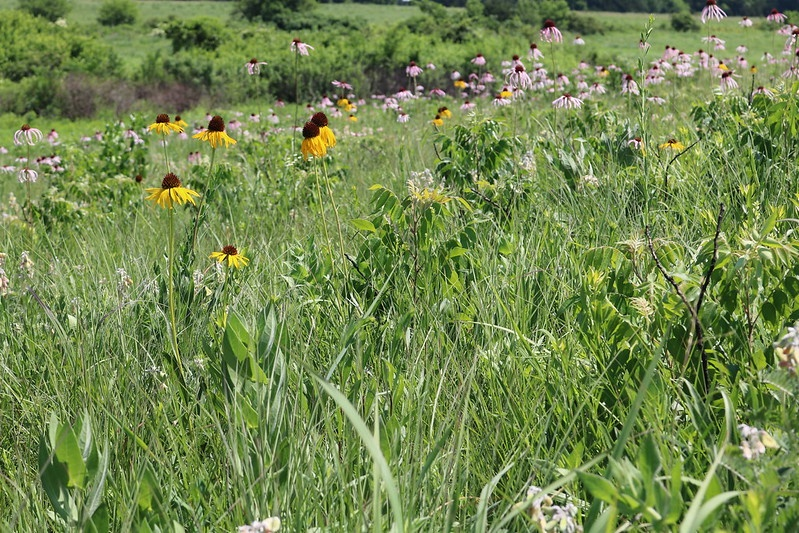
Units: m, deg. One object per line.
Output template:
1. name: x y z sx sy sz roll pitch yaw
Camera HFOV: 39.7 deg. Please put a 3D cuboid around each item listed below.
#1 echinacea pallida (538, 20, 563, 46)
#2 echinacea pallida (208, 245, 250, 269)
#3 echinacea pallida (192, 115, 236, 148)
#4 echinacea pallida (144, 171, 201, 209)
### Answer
1. echinacea pallida: 1.469 -2.300 10.816 0.191 0.225 0.336 9 21 26
2. echinacea pallida: -1.345 -0.053 8.814 0.210 0.174 0.241 21 5 18
3. echinacea pallida: -1.511 -1.092 8.903 0.295 0.273 0.342 8 -3 -8
4. echinacea pallida: -1.801 -0.530 8.618 0.331 0.390 0.438 -2 -8 -5
